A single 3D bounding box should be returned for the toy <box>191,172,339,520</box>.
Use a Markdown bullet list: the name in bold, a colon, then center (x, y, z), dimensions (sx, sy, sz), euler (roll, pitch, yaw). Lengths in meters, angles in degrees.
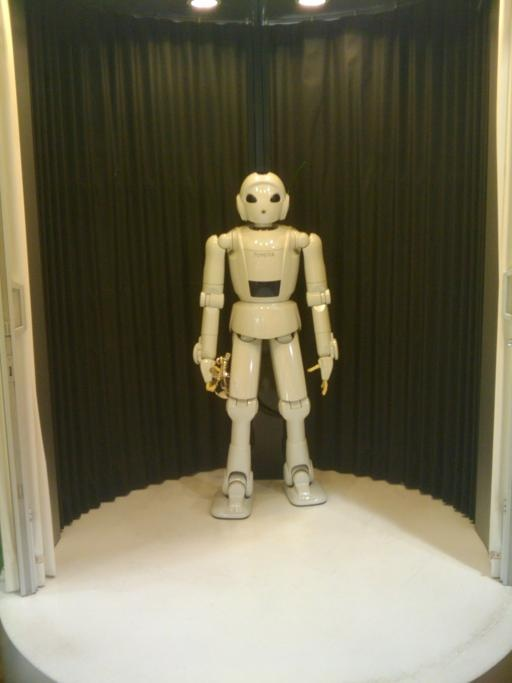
- **toy**: center (0.038, 0.018, 2.810), dimensions (0.662, 1.588, 0.281), euler (-3, 8, -13)
